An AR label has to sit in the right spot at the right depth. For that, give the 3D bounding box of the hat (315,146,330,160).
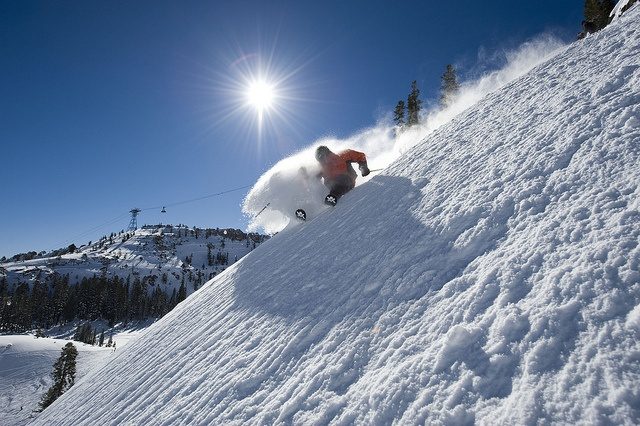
[{"bbox_3d":[0.113,-2.168,17.507,0.520,0.534,0.418,-5,21,-23],"label":"hat"}]

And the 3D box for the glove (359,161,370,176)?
[{"bbox_3d":[1.519,-1.570,17.183,0.398,0.513,0.663,2,3,4],"label":"glove"}]
